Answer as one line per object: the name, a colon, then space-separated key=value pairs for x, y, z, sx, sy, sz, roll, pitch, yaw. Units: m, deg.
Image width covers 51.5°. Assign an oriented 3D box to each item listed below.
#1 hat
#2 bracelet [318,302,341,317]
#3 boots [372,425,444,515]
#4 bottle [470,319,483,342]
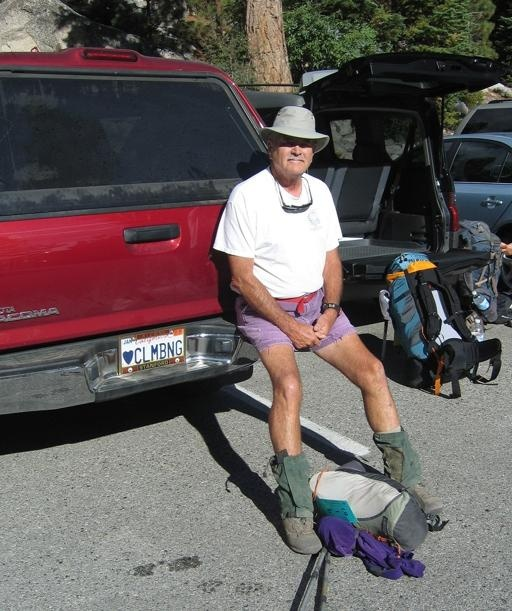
hat: x=0.192 y=-0.803 z=2.429 sx=0.318 sy=0.135 sz=0.244 roll=4 pitch=7 yaw=11
bracelet: x=0.355 y=0.021 z=2.509 sx=0.091 sy=0.048 sz=0.086 roll=1 pitch=-15 yaw=6
boots: x=0.624 y=0.708 z=2.233 sx=0.148 sy=0.310 sz=0.110 roll=-12 pitch=-8 yaw=-31
bottle: x=1.662 y=0.184 z=3.980 sx=0.093 sy=0.145 sz=0.059 roll=-27 pitch=17 yaw=36
